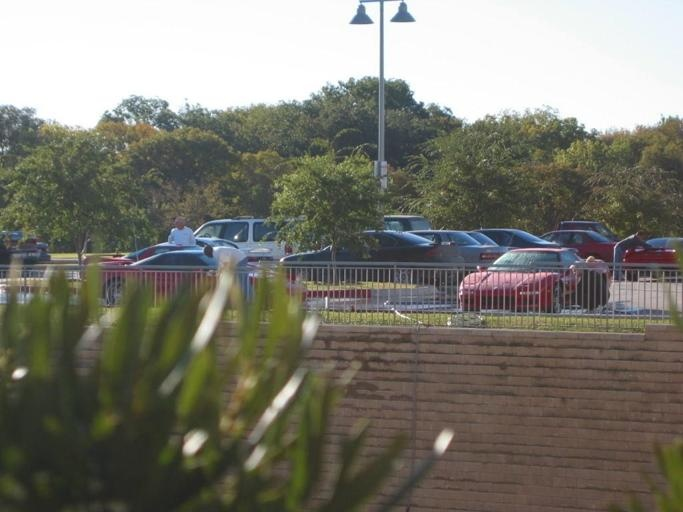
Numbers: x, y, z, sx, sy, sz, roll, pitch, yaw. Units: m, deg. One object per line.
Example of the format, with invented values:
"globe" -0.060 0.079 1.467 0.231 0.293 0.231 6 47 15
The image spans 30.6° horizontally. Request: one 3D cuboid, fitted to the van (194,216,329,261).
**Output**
"van" -2.418 -0.488 30.597 1.969 1.149 1.163 6 3 33
